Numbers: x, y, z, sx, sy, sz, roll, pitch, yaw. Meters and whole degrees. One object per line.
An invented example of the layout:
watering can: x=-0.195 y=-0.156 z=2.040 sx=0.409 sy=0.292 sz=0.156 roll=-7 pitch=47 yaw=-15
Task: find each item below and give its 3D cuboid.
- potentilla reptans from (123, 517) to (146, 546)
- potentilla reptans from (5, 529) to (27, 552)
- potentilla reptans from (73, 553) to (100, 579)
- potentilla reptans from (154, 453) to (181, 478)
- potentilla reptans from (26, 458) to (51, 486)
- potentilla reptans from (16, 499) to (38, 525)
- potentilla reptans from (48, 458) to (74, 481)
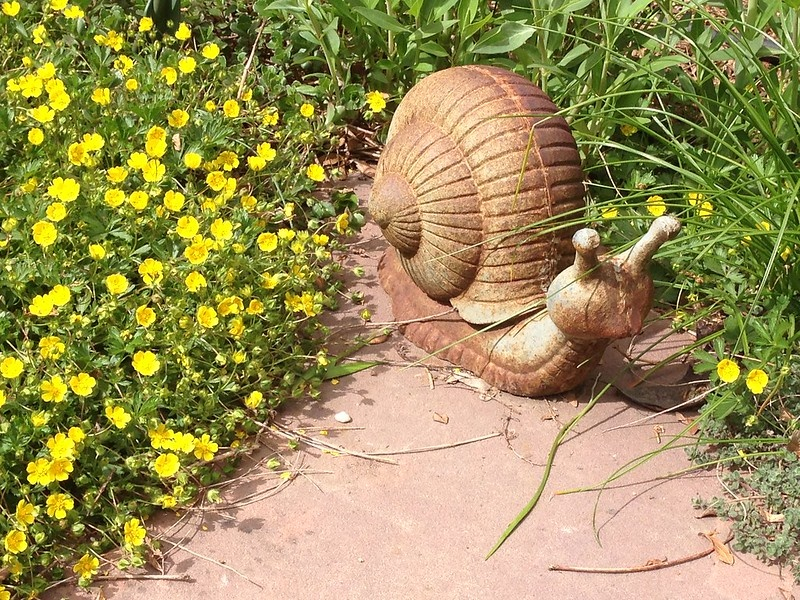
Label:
potentilla reptans: x=-0.903 y=0.777 z=2.798 sx=0.080 sy=0.040 sz=0.083 roll=6 pitch=70 yaw=-19
potentilla reptans: x=-1.264 y=0.792 z=2.711 sx=0.063 sy=0.084 sz=0.056 roll=-3 pitch=38 yaw=-14
potentilla reptans: x=-1.044 y=0.882 z=2.744 sx=0.080 sy=0.078 sz=0.034 roll=-41 pitch=24 yaw=-3
potentilla reptans: x=-0.813 y=0.570 z=2.864 sx=0.083 sy=0.061 sz=0.064 roll=-4 pitch=39 yaw=-16
potentilla reptans: x=-1.219 y=0.577 z=2.780 sx=0.082 sy=0.028 sz=0.092 roll=22 pitch=81 yaw=-10
potentilla reptans: x=-1.243 y=0.703 z=2.754 sx=0.043 sy=0.079 sz=0.082 roll=-16 pitch=53 yaw=25
potentilla reptans: x=-1.146 y=0.567 z=2.781 sx=0.070 sy=0.073 sz=0.048 roll=-8 pitch=40 yaw=-20
